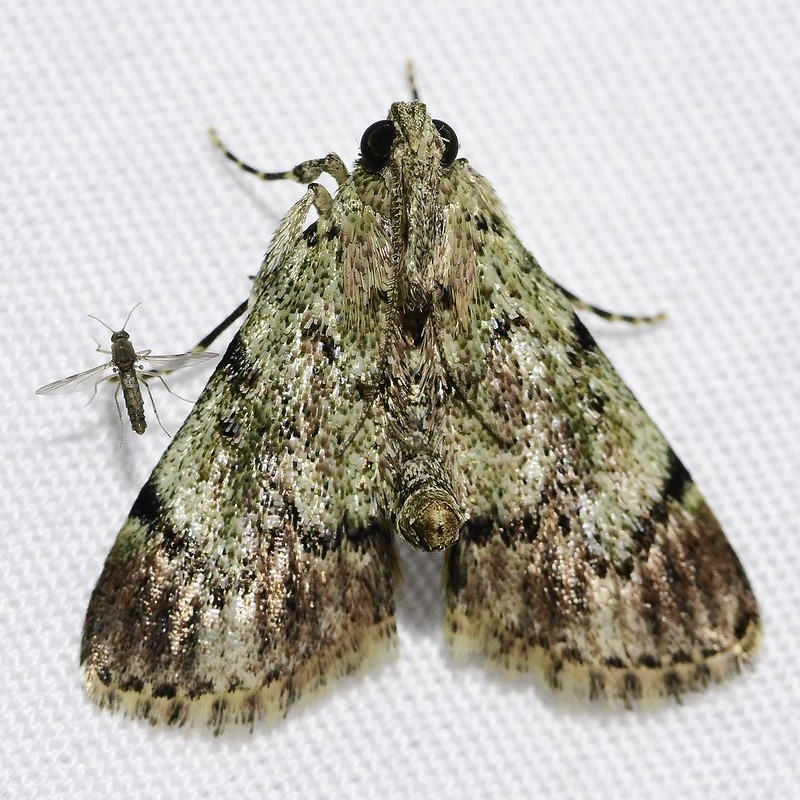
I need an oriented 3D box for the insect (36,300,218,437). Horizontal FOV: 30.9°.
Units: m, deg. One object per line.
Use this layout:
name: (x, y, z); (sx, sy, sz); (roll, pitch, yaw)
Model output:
insect: (-0.535, -0.045, 2.988); (0.186, 0.105, 0.295); (-23, -13, 2)
